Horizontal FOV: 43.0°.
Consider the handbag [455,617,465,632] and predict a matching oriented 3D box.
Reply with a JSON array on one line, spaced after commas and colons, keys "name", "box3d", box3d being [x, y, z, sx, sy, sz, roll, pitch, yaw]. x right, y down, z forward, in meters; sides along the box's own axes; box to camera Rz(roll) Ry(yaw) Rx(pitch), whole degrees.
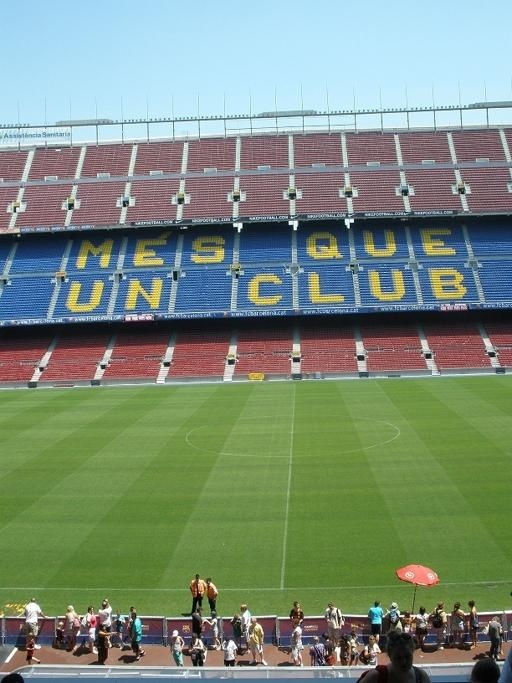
[{"name": "handbag", "box3d": [4.436, 6.064, 14.040, 0.206, 0.308, 0.264, 8, -58, 21]}]

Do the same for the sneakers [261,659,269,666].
[{"name": "sneakers", "box3d": [0.171, 6.745, 13.653, 0.106, 0.115, 0.321, -5, -10, -18]}]
